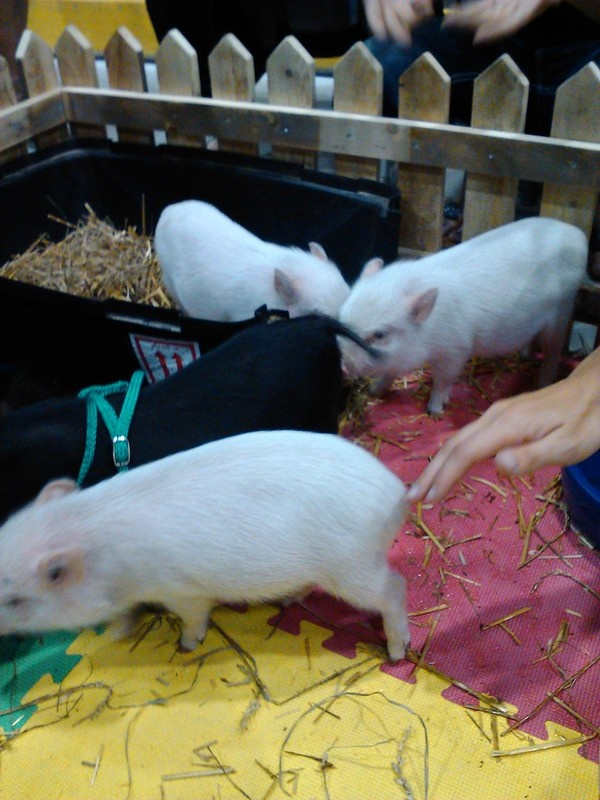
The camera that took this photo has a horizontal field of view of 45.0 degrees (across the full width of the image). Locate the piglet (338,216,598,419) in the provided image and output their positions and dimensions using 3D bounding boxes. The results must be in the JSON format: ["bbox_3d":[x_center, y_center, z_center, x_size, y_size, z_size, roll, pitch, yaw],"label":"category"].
[{"bbox_3d":[0.342,-0.164,1.610,0.715,0.365,0.222,-20,41,-23],"label":"piglet"}]
